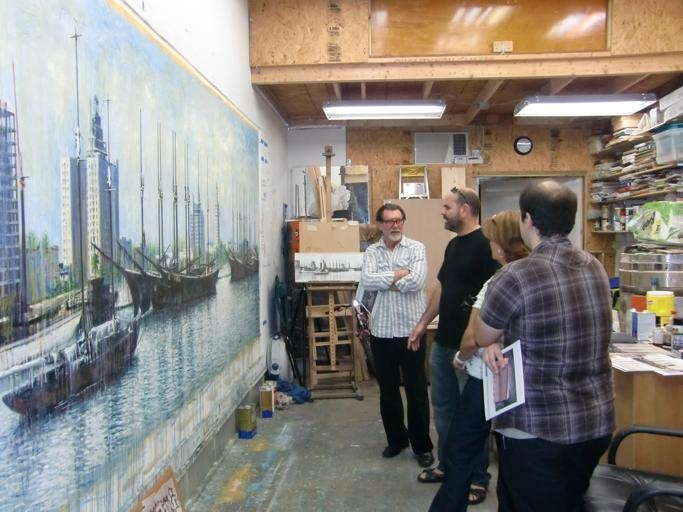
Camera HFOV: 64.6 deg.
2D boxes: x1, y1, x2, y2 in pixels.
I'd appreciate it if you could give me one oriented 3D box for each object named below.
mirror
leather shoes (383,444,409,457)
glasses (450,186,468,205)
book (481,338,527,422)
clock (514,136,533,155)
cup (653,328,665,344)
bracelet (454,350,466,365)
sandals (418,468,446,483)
[{"bbox_3d":[-0.167,-0.727,6.648,0.763,0.701,0.103,3,-21,-7],"label":"mirror"},{"bbox_3d":[0.425,1.475,4.162,0.216,0.096,0.073,6,-8,-38],"label":"leather shoes"},{"bbox_3d":[0.772,-0.398,3.520,0.029,0.102,0.094,-37,23,-14],"label":"glasses"},{"bbox_3d":[0.749,0.553,2.467,0.021,0.336,0.318,6,-19,-22],"label":"book"},{"bbox_3d":[2.369,-1.425,7.012,0.243,0.245,0.073,-3,12,-13],"label":"clock"},{"bbox_3d":[2.177,0.541,3.702,0.069,0.093,0.094,6,13,31],"label":"cup"},{"bbox_3d":[0.613,0.519,2.779,0.046,0.061,0.063,8,-15,14],"label":"bracelet"},{"bbox_3d":[0.621,1.510,3.788,0.220,0.070,0.128,4,-5,-8],"label":"sandals"}]
